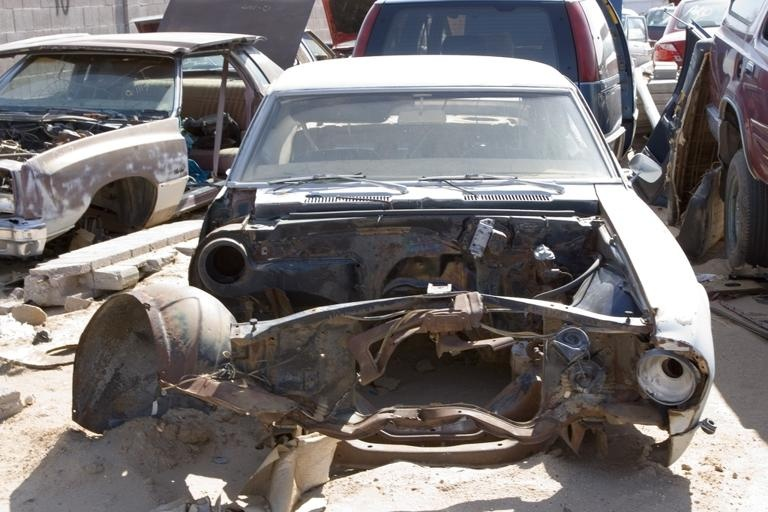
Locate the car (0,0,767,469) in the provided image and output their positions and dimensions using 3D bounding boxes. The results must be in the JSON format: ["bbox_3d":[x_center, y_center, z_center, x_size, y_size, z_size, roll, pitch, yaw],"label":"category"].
[{"bbox_3d":[0.298,0.250,6.593,3.640,2.409,5.753,-1,26,1],"label":"car"}]

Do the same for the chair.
[{"bbox_3d":[-2.236,-1.679,9.356,1.250,1.180,1.356,-10,25,-22],"label":"chair"}]
